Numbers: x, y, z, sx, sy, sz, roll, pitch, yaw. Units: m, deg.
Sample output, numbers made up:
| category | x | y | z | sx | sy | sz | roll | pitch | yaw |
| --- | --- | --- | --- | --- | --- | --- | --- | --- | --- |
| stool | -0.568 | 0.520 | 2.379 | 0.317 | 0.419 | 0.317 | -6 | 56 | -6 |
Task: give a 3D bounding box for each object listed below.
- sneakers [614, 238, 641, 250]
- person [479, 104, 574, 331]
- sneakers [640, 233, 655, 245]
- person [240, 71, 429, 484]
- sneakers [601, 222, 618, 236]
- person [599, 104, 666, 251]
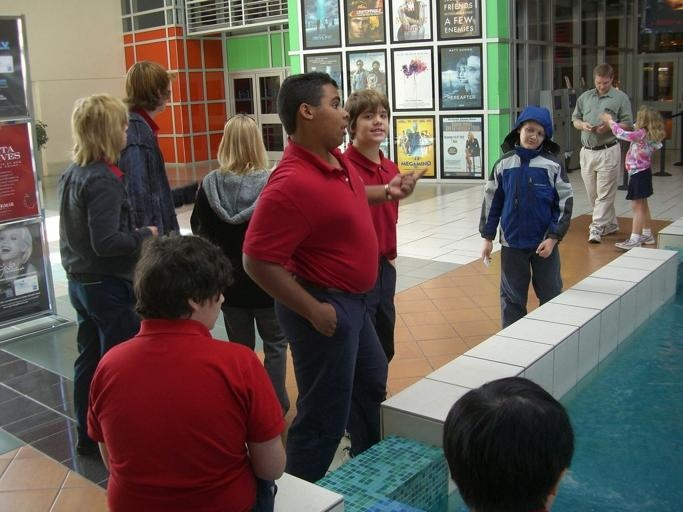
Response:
| category | x | y | z | sx | sy | sz | roll | pitch | yaw |
| --- | --- | --- | --- | --- | --- | --- | --- | --- | --- |
| sneakers | 3.866 | -0.148 | 7.022 | 0.355 | 0.164 | 0.136 | 2 | 14 | 25 |
| person | 1.473 | -0.290 | 4.214 | 0.698 | 1.745 | 0.414 | 3 | 13 | 26 |
| sneakers | 4.234 | -0.219 | 7.174 | 0.349 | 0.158 | 0.072 | -10 | 13 | -30 |
| person | -0.046 | 0.158 | 2.474 | 0.369 | 1.982 | 0.818 | 8 | 16 | 44 |
| sneakers | 4.026 | -0.398 | 7.839 | 0.293 | 0.138 | 0.099 | -23 | 6 | -20 |
| person | 4.030 | -1.066 | 7.198 | 0.678 | 1.893 | 0.950 | 4 | 13 | 31 |
